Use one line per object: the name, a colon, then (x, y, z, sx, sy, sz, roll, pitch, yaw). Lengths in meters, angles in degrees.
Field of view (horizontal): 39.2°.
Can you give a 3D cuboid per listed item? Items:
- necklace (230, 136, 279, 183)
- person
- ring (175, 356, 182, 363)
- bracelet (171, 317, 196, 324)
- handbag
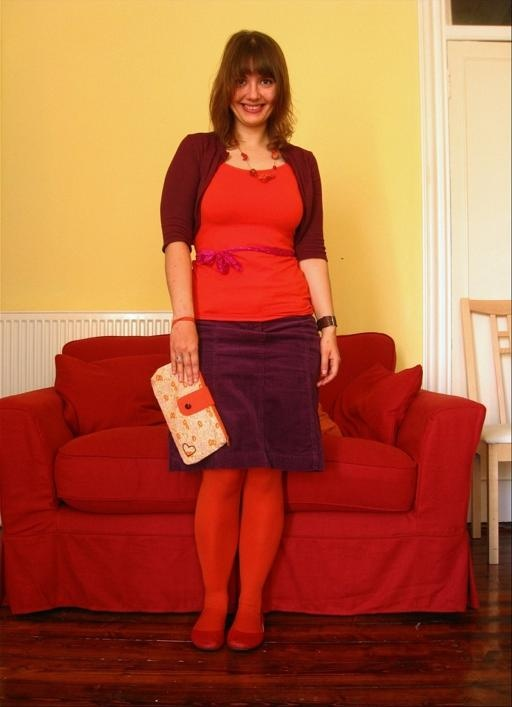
necklace: (0.008, -0.491, 1.857, 0.118, 0.108, 0.030, 5, -41, -26)
person: (-0.006, -0.053, 1.824, 0.459, 1.528, 0.417, -1, 7, -8)
ring: (-0.189, 0.017, 1.761, 0.015, 0.015, 0.015, 0, 3, 0)
bracelet: (-0.181, -0.079, 1.756, 0.054, 0.022, 0.035, 0, 7, 0)
handbag: (-0.158, 0.145, 1.807, 0.165, 0.258, 0.071, -28, -4, 6)
